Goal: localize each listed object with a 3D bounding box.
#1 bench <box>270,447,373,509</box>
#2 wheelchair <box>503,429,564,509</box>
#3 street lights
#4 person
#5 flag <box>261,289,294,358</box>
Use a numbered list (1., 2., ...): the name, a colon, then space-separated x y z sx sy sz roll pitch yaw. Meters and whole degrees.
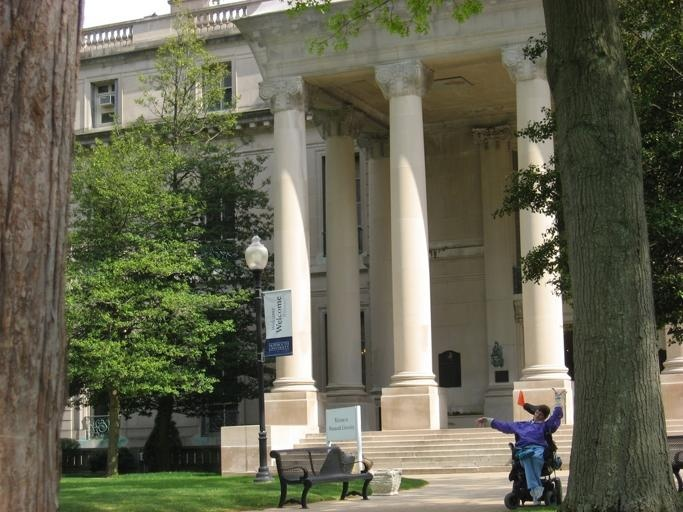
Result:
1. bench: -0.369 4.433 27.899 1.919 1.208 3.809 -2 -9 1
2. wheelchair: 3.325 3.674 24.127 0.897 1.363 1.009 -3 -6 21
3. street lights: -1.746 2.361 32.038 0.838 5.762 0.685 -2 -5 -11
4. person: 3.345 3.361 24.516 1.273 1.998 0.901 0 -5 5
5. flag: -1.428 1.514 32.105 0.483 1.924 0.351 -6 -9 34
